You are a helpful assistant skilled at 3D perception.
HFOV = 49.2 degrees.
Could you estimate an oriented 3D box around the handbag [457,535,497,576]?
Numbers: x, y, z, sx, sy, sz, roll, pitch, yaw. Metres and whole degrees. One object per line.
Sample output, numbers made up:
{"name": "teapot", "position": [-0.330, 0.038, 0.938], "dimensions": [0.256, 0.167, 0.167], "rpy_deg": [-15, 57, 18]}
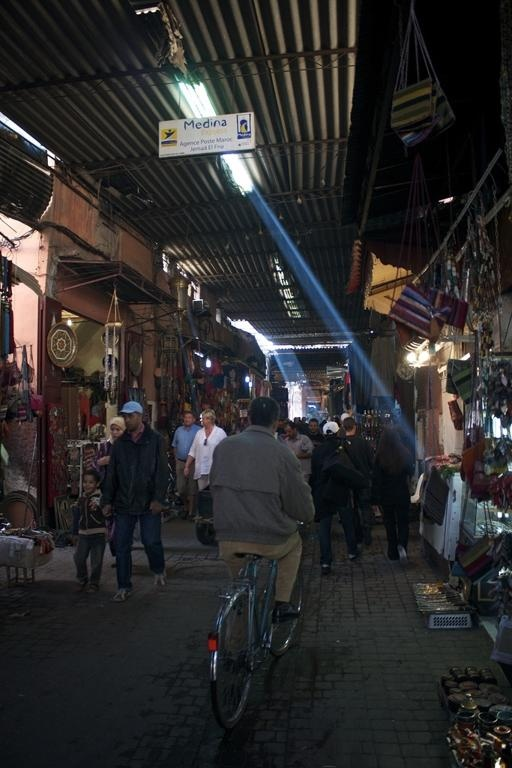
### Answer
{"name": "handbag", "position": [1.632, 1.281, 4.176], "dimensions": [0.112, 0.314, 0.452], "rpy_deg": [2, -8, -8]}

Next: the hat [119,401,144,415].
{"name": "hat", "position": [-1.094, 0.234, 5.011], "dimensions": [0.142, 0.121, 0.209], "rpy_deg": [-1, -15, 13]}

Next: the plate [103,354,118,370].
{"name": "plate", "position": [-2.511, -0.388, 9.666], "dimensions": [0.297, 0.235, 0.298], "rpy_deg": [-6, 4, -25]}

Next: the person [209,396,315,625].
{"name": "person", "position": [0.034, 0.665, 3.033], "dimensions": [0.546, 1.157, 0.556], "rpy_deg": [3, -9, 3]}
